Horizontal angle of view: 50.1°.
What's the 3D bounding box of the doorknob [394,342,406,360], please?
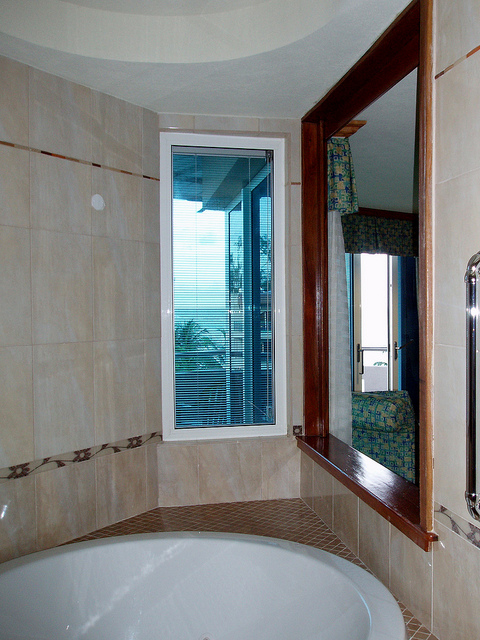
[{"bbox_3d":[0.573,0.110,1.877,0.025,0.064,0.072,1,-5,-4],"label":"doorknob"}]
